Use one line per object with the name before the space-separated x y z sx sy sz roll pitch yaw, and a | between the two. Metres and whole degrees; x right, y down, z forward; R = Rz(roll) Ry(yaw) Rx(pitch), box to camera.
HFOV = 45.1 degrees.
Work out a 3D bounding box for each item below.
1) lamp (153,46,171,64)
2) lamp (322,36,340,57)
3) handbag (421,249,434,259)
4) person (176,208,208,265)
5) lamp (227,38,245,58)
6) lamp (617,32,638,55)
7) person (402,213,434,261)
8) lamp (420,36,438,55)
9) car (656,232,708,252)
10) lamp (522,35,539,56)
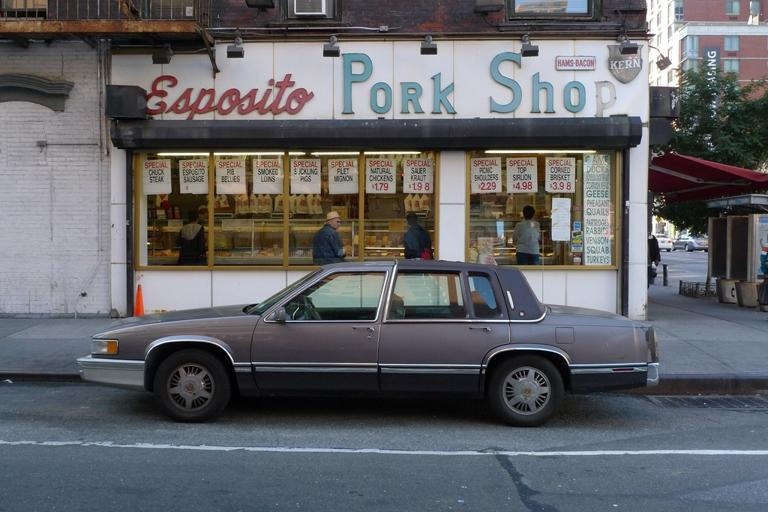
lamp | -4.913 -4.426 20.438 0.439 0.414 0.358 2 22 -4
lamp | -1.203 -4.639 20.376 0.383 0.456 0.269 0 15 -3
handbag | 0.935 -0.038 20.449 0.336 0.317 0.195 -1 6 -27
person | -4.347 -0.415 20.707 0.598 1.124 0.490 -2 15 -11
lamp | -3.318 -4.589 20.378 0.446 0.292 0.534 5 -18 -13
lamp | 5.324 -4.629 20.198 0.418 0.446 0.215 4 15 13
person | 0.735 -0.433 20.460 0.621 0.923 0.661 3 15 9
lamp | 0.945 -4.645 20.330 0.367 0.422 0.187 1 15 0
car | 19.189 -0.854 59.673 1.226 0.906 3.031 1 6 -10
lamp | 3.159 -4.601 20.237 0.429 0.419 0.216 -1 -11 1
